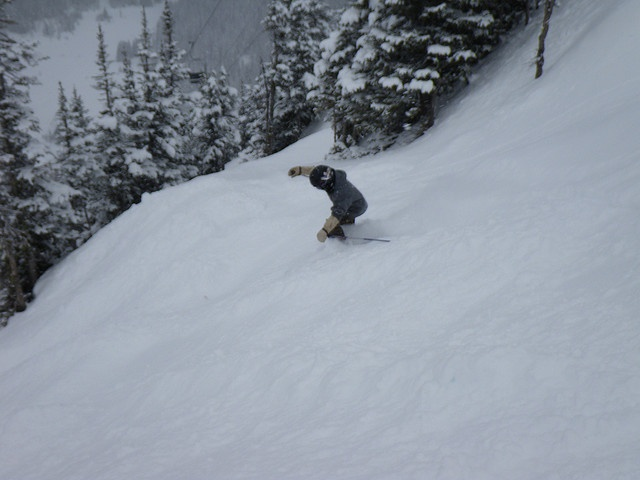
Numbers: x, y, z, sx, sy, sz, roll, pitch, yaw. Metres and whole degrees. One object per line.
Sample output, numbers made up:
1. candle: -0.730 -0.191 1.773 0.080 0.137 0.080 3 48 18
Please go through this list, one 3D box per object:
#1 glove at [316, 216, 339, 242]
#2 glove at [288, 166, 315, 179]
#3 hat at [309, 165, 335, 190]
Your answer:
1. glove: 0.251 -0.366 26.369 0.555 0.191 0.945 40 107 28
2. glove: -0.612 -2.248 26.244 0.679 0.194 0.464 1 58 13
3. hat: 0.092 -2.029 25.895 0.633 0.750 0.881 -22 44 21
